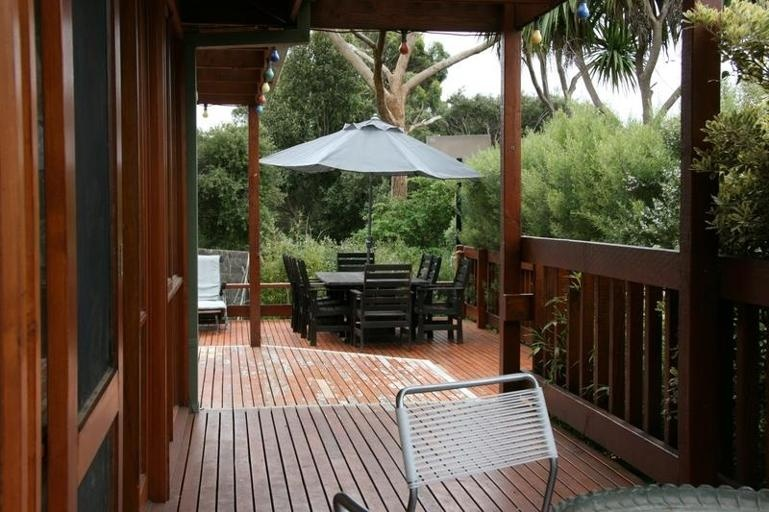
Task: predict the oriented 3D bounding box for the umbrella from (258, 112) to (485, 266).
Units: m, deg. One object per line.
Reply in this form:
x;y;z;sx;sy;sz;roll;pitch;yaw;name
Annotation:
-0.342;-1.188;8.394;2.012;1.676;2.111;3;5;33;umbrella

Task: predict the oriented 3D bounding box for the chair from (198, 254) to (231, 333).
-2.462;0.500;9.180;0.400;1.002;1.169;-2;5;-14;chair

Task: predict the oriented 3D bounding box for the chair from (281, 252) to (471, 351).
-0.082;0.571;8.082;2.281;1.076;1.464;-1;5;-2;chair
